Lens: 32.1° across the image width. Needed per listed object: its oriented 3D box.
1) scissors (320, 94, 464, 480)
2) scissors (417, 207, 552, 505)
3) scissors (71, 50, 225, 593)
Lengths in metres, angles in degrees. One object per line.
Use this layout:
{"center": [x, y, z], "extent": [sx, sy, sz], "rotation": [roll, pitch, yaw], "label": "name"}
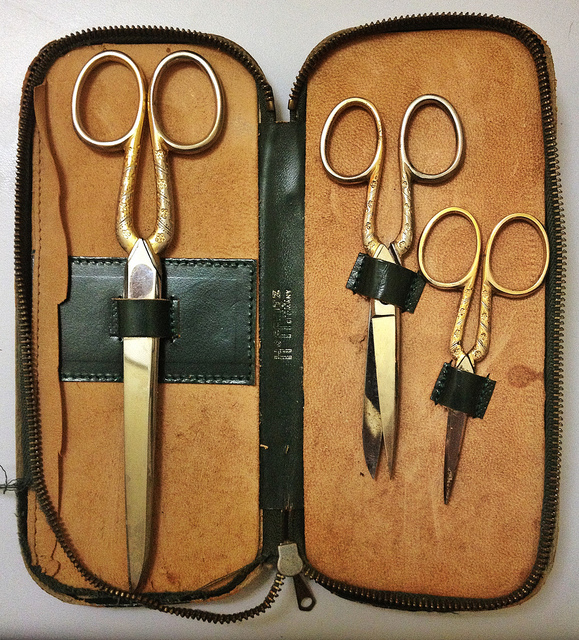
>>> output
{"center": [0.112, -0.056, 1.191], "extent": [0.145, 0.485, 0.032], "rotation": [2, -3, 8], "label": "scissors"}
{"center": [0.200, 0.041, 1.124], "extent": [0.154, 0.431, 0.032], "rotation": [1, -37, 18], "label": "scissors"}
{"center": [-0.174, 0.001, 1.196], "extent": [0.180, 0.638, 0.077], "rotation": [1, 3, -9], "label": "scissors"}
